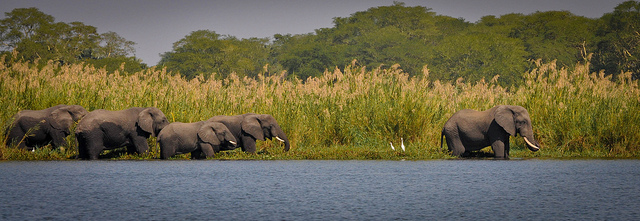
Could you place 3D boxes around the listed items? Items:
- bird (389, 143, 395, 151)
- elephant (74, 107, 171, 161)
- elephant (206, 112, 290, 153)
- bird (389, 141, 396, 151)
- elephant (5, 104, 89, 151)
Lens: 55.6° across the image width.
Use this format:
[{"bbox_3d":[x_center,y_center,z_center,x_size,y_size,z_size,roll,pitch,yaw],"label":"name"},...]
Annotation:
[{"bbox_3d":[5.706,2.873,48.209,0.314,0.626,0.677,-3,-7,5],"label":"bird"},{"bbox_3d":[-16.176,1.537,48.702,9.361,3.147,3.115,-3,1,-11],"label":"elephant"},{"bbox_3d":[-5.784,1.590,49.380,7.954,2.617,2.658,-1,-2,-8],"label":"elephant"},{"bbox_3d":[5.729,2.801,48.259,0.468,0.781,0.718,-3,-7,5],"label":"bird"},{"bbox_3d":[-20.972,1.301,48.324,4.949,3.399,10.268,0,-1,40],"label":"elephant"}]
